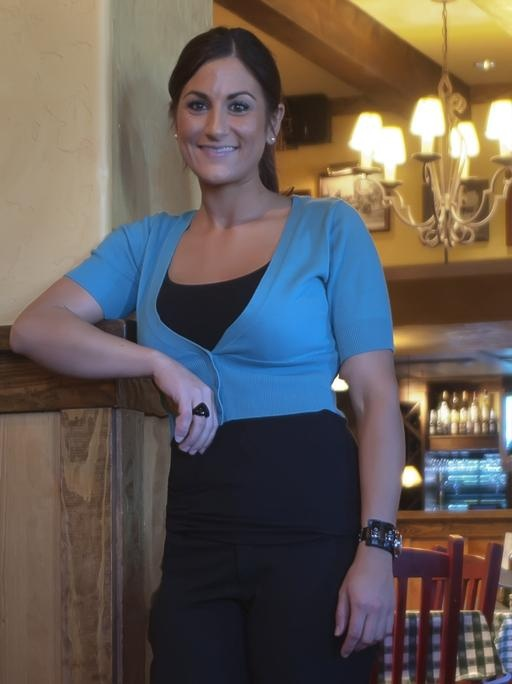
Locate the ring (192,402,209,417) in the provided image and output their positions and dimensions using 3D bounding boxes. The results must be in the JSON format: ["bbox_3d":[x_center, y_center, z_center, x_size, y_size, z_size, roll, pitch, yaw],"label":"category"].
[{"bbox_3d":[-0.068,0.084,0.931,0.021,0.016,0.012,1,1,-8],"label":"ring"}]

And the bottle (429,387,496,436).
[{"bbox_3d":[2.330,0.800,8.565,0.407,0.515,0.116,0,-34,12],"label":"bottle"}]

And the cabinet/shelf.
[{"bbox_3d":[2.243,0.804,8.281,0.642,0.796,0.273,-3,-26,9],"label":"cabinet/shelf"}]

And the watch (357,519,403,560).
[{"bbox_3d":[0.150,0.224,0.869,0.031,0.029,0.048,9,-13,2],"label":"watch"}]
